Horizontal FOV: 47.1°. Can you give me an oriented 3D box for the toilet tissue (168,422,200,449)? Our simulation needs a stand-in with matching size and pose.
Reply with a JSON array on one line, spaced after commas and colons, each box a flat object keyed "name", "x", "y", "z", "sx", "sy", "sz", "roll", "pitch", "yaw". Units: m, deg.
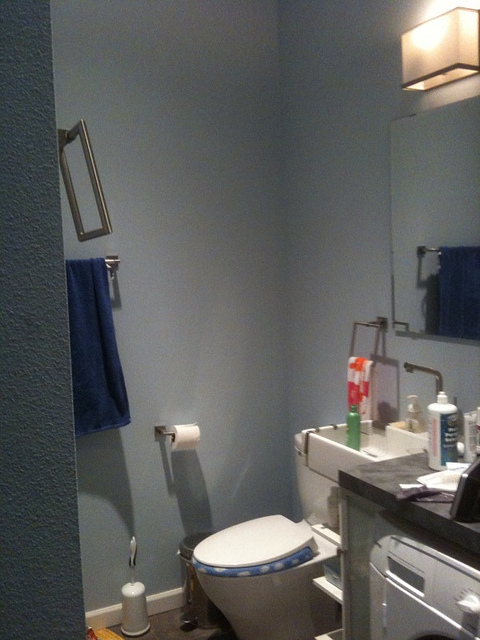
[{"name": "toilet tissue", "x": -0.229, "y": 0.491, "z": 2.339, "sx": 0.108, "sy": 0.113, "sz": 0.088, "roll": 2, "pitch": -7, "yaw": -21}]

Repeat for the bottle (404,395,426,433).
[{"name": "bottle", "x": 0.582, "y": 0.312, "z": 1.861, "sx": 0.069, "sy": 0.103, "sz": 0.162, "roll": -7, "pitch": 4, "yaw": 12}]

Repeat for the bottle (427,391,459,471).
[{"name": "bottle", "x": 0.525, "y": 0.289, "z": 1.434, "sx": 0.067, "sy": 0.204, "sz": 0.073, "roll": -3, "pitch": 6, "yaw": 0}]

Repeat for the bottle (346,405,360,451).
[{"name": "bottle", "x": 0.392, "y": 0.380, "z": 1.938, "sx": 0.061, "sy": 0.151, "sz": 0.052, "roll": -5, "pitch": 5, "yaw": 29}]

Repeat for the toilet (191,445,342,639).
[{"name": "toilet", "x": 0.132, "y": 0.829, "z": 2.114, "sx": 0.664, "sy": 0.816, "sz": 0.445, "roll": 0, "pitch": -1, "yaw": -26}]
